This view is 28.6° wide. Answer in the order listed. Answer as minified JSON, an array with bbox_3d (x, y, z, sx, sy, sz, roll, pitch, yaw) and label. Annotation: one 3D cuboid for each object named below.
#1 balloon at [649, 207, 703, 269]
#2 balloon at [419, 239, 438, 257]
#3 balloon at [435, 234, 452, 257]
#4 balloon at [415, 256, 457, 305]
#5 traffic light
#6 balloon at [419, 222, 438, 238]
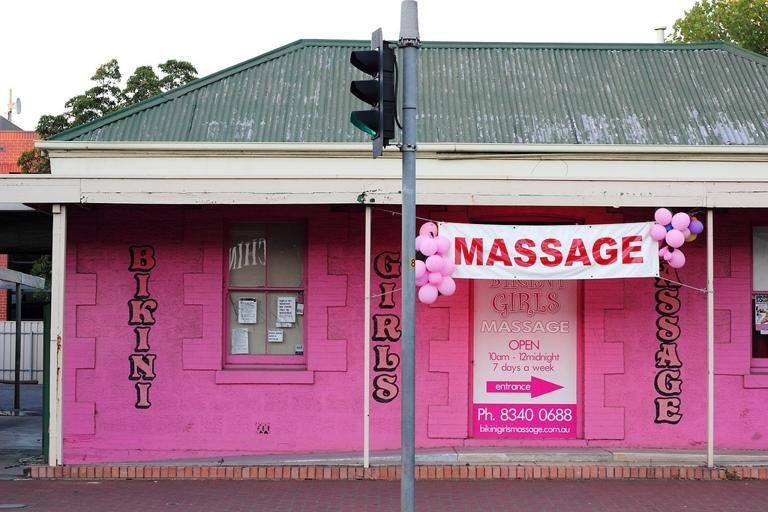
[{"bbox_3d":[5.407,-0.398,27.798,0.983,1.064,0.518,3,-12,-30],"label":"balloon"},{"bbox_3d":[0.794,-0.204,27.171,0.359,0.346,0.327,4,11,8],"label":"balloon"},{"bbox_3d":[1.070,-0.206,27.295,0.375,0.350,0.341,0,3,7],"label":"balloon"},{"bbox_3d":[0.926,0.375,27.239,0.716,0.836,0.435,-3,-11,1],"label":"balloon"},{"bbox_3d":[-0.134,-2.769,25.155,0.822,1.865,0.946,4,-3,-24],"label":"traffic light"},{"bbox_3d":[0.822,-0.530,27.529,0.284,0.328,0.468,-8,-11,27],"label":"balloon"}]
